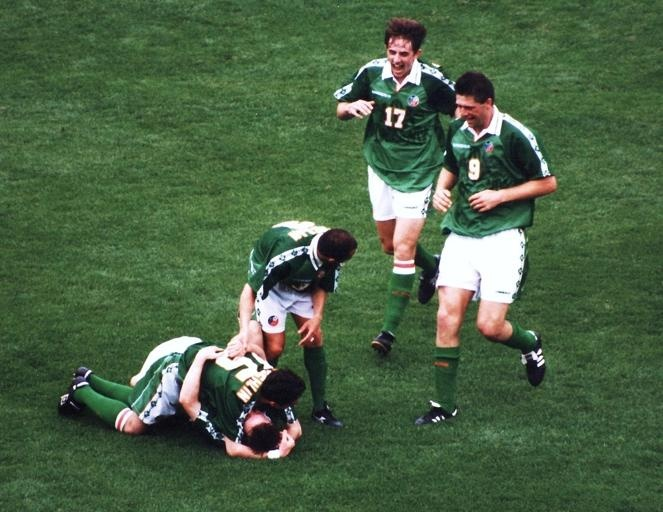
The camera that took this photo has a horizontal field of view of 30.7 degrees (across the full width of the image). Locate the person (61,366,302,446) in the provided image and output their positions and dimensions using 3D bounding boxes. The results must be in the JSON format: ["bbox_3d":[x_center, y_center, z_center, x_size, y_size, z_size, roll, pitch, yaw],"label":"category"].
[{"bbox_3d":[-1.287,1.132,10.249,2.130,0.645,0.369,8,22,13],"label":"person"}]

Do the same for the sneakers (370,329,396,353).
[{"bbox_3d":[0.469,0.782,11.038,0.145,0.117,0.317,-34,2,-11],"label":"sneakers"}]

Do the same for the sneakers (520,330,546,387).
[{"bbox_3d":[1.827,0.910,10.683,0.172,0.535,0.225,3,17,37],"label":"sneakers"}]

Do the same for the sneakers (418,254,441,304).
[{"bbox_3d":[0.921,0.229,11.599,0.166,0.513,0.215,15,12,21],"label":"sneakers"}]

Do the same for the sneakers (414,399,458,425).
[{"bbox_3d":[0.903,1.353,10.542,0.423,0.194,0.155,-5,16,-8],"label":"sneakers"}]

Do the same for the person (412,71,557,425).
[{"bbox_3d":[1.367,-0.124,10.500,1.101,2.893,1.096,-1,22,-8],"label":"person"}]

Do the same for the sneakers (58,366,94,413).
[{"bbox_3d":[-2.231,1.127,10.562,0.162,0.198,0.472,18,43,0],"label":"sneakers"}]
